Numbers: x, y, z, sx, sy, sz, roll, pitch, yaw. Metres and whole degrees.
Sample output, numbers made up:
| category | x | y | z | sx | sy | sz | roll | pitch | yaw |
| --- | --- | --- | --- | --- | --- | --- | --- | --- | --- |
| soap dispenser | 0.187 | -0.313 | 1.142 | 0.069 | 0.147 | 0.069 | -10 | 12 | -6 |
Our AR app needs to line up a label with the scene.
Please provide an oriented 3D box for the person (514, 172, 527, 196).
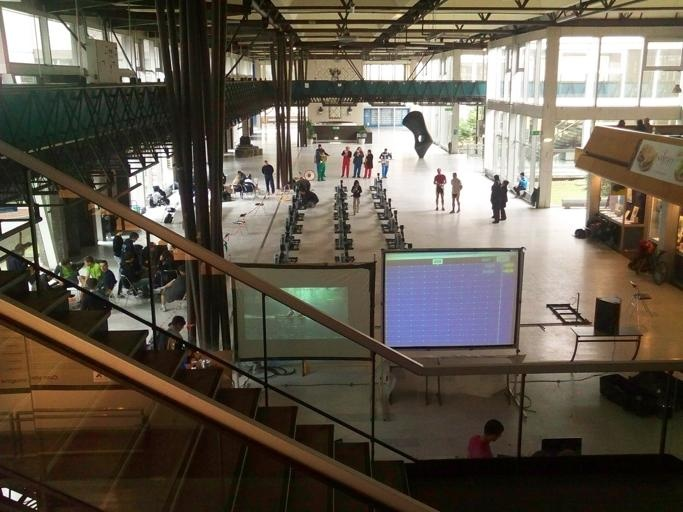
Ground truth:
| category | x | y | z | sx | sy | sz | roll | pitch | yaw |
| --- | --- | --- | --- | --- | --- | --- | --- | --- | --- |
| person | 9.065 | -3.649 | 28.162 | 0.631 | 1.237 | 0.910 | 3 | 18 | 16 |

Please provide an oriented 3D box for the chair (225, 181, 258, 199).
| category | x | y | z | sx | sy | sz | roll | pitch | yaw |
| --- | --- | --- | --- | --- | --- | --- | --- | --- | --- |
| chair | -4.899 | -3.352 | 27.668 | 1.261 | 0.769 | 0.991 | 2 | 16 | -1 |

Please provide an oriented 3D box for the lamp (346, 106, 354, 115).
| category | x | y | z | sx | sy | sz | roll | pitch | yaw |
| --- | --- | --- | --- | --- | --- | --- | --- | --- | --- |
| lamp | 0.893 | -15.420 | 58.491 | 0.689 | 0.804 | 1.129 | -4 | 18 | -7 |

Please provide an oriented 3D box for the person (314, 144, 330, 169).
| category | x | y | z | sx | sy | sz | roll | pitch | yaw |
| --- | --- | --- | --- | --- | --- | --- | --- | --- | --- |
| person | -1.171 | -5.528 | 31.123 | 0.574 | 1.345 | 1.225 | -3 | 18 | -2 |

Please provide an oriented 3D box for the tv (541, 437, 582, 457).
| category | x | y | z | sx | sy | sz | roll | pitch | yaw |
| --- | --- | --- | --- | --- | --- | --- | --- | --- | --- |
| tv | 2.175 | 1.885 | 5.450 | 0.327 | 0.064 | 0.214 | 4 | 60 | -12 |

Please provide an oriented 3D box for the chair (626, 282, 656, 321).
| category | x | y | z | sx | sy | sz | roll | pitch | yaw |
| --- | --- | --- | --- | --- | --- | --- | --- | --- | --- |
| chair | 7.458 | 1.152 | 13.921 | 0.504 | 0.743 | 0.524 | -5 | 22 | 10 |

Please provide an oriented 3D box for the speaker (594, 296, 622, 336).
| category | x | y | z | sx | sy | sz | roll | pitch | yaw |
| --- | --- | --- | --- | --- | --- | --- | --- | --- | --- |
| speaker | 4.826 | 1.097 | 10.104 | 0.421 | 0.603 | 0.499 | 6 | 19 | 24 |

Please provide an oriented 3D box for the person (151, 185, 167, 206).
| category | x | y | z | sx | sy | sz | roll | pitch | yaw |
| --- | --- | --- | --- | --- | --- | --- | --- | --- | --- |
| person | -7.554 | -2.537 | 23.205 | 0.716 | 0.810 | 0.623 | -2 | 18 | -1 |
